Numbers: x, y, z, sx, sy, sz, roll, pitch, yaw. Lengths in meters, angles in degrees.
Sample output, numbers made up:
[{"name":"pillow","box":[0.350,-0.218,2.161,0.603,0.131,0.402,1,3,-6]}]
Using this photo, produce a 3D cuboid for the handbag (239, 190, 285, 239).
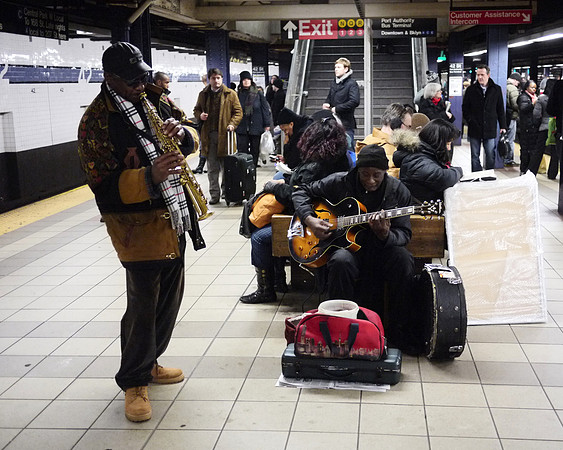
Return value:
[{"name":"handbag","box":[-0.120,-0.078,3.963,0.156,0.388,0.418,18,-44,-31]}]

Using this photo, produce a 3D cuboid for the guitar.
[{"name":"guitar","box":[0.538,0.047,3.076,1.086,0.495,0.166,-10,-21,40]}]

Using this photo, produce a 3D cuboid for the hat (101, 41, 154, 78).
[{"name":"hat","box":[-0.763,-0.784,2.117,0.220,0.127,0.165,6,41,10]}]

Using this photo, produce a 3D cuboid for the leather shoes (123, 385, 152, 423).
[{"name":"leather shoes","box":[-0.770,0.953,2.278,0.085,0.107,0.248,1,-9,-17]}]

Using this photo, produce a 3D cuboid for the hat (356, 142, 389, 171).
[{"name":"hat","box":[0.617,-0.465,2.941,0.179,0.131,0.190,2,12,5]}]

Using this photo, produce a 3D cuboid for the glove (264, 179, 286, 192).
[{"name":"glove","box":[-0.075,-0.365,3.810,0.138,0.069,0.177,-13,-2,-18]}]

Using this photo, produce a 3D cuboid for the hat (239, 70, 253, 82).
[{"name":"hat","box":[-0.794,-3.294,9.648,0.262,0.220,0.206,-2,12,12]}]

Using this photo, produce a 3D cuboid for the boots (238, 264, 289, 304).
[{"name":"boots","box":[-0.176,0.532,4.068,0.346,0.381,0.411,4,7,13]}]

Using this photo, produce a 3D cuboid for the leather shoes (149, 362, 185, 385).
[{"name":"leather shoes","box":[-0.704,0.932,2.717,0.247,0.107,0.092,-1,6,-1]}]
